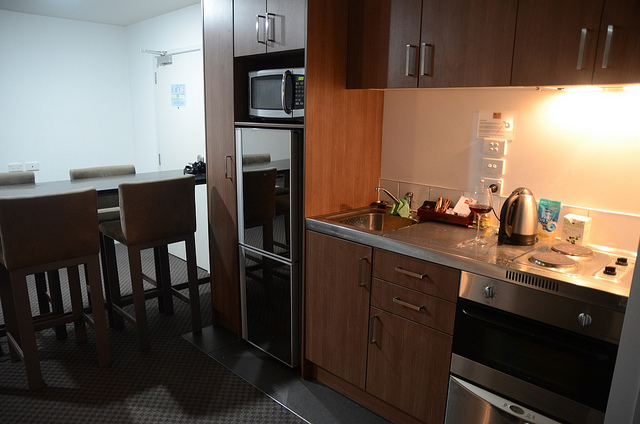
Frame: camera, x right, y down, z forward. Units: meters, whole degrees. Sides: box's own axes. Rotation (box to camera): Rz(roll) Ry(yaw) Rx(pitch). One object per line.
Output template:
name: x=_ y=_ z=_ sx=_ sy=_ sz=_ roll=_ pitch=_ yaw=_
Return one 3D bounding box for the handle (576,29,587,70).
handle: x=1.474 y=-0.919 z=2.498 sx=0.030 sy=0.216 sz=0.037 roll=7 pitch=16 yaw=29

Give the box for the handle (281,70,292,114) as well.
handle: x=-0.260 y=-0.894 z=3.285 sx=0.104 sy=0.312 sz=0.059 roll=5 pitch=15 yaw=24

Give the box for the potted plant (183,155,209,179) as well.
potted plant: x=-1.275 y=-0.450 z=4.570 sx=0.273 sy=0.209 sz=0.457 roll=1 pitch=7 yaw=-5

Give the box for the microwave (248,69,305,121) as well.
microwave: x=-0.289 y=-0.936 z=3.523 sx=0.597 sy=0.379 sz=0.383 roll=10 pitch=15 yaw=37

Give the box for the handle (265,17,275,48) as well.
handle: x=-0.371 y=-1.334 z=3.297 sx=0.082 sy=0.209 sz=0.019 roll=10 pitch=18 yaw=38

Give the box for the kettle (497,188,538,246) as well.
kettle: x=1.268 y=0.025 z=2.843 sx=0.224 sy=0.353 sz=0.113 roll=5 pitch=15 yaw=22

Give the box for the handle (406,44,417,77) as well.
handle: x=0.613 y=-1.037 z=3.029 sx=0.083 sy=0.212 sz=0.056 roll=7 pitch=16 yaw=31

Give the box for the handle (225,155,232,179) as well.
handle: x=-0.772 y=-0.381 z=3.691 sx=0.040 sy=0.200 sz=0.099 roll=-14 pitch=19 yaw=-41

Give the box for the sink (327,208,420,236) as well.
sink: x=0.398 y=0.071 z=3.429 sx=0.665 sy=0.164 sz=0.279 roll=-1 pitch=14 yaw=-1

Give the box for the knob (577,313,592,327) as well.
knob: x=1.409 y=0.565 z=2.365 sx=0.059 sy=0.080 sz=0.023 roll=3 pitch=2 yaw=38

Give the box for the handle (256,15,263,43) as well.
handle: x=-0.475 y=-1.397 z=3.373 sx=0.030 sy=0.200 sz=0.054 roll=-13 pitch=18 yaw=-40

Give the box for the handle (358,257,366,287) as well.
handle: x=0.288 y=0.404 z=3.082 sx=0.046 sy=0.212 sz=0.030 roll=7 pitch=16 yaw=30

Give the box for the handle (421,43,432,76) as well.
handle: x=0.706 y=-1.021 z=2.962 sx=0.061 sy=0.205 sz=0.041 roll=2 pitch=14 yaw=12

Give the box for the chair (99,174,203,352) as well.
chair: x=-1.529 y=0.384 z=3.959 sx=0.672 sy=1.454 sz=0.699 roll=-10 pitch=16 yaw=-37

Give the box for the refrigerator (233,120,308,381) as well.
refrigerator: x=-0.445 y=0.299 z=3.495 sx=0.779 sy=1.945 sz=0.310 roll=9 pitch=17 yaw=36

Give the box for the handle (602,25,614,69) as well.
handle: x=1.580 y=-0.910 z=2.438 sx=0.032 sy=0.229 sz=0.047 roll=7 pitch=16 yaw=30
